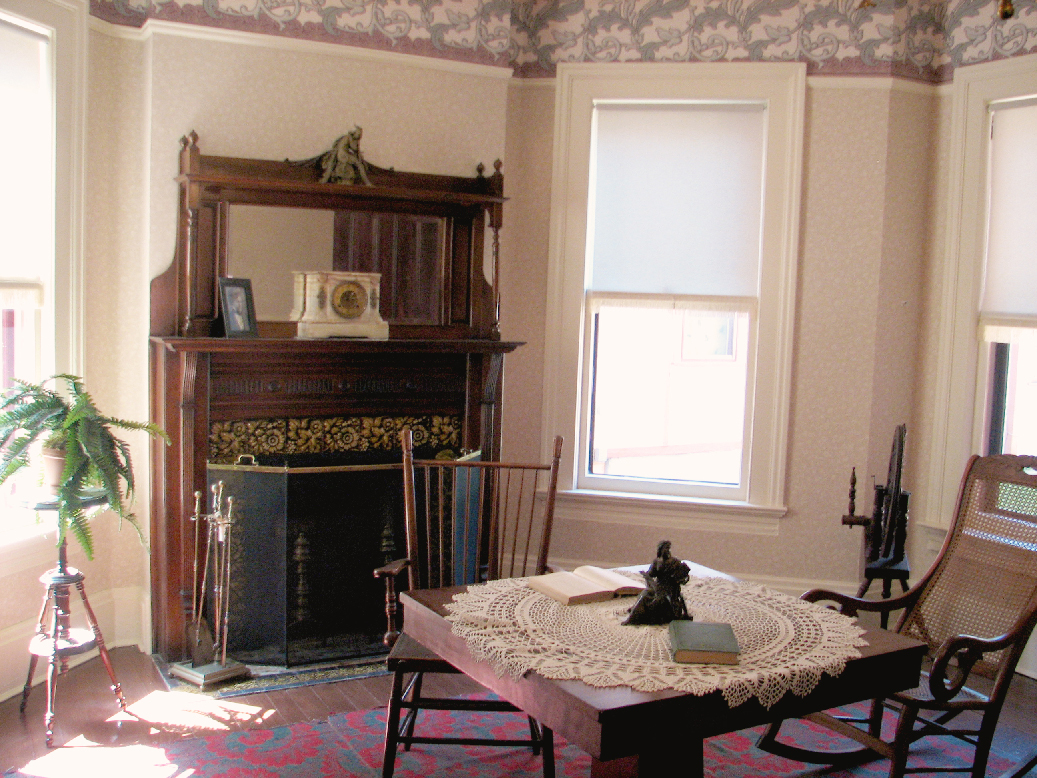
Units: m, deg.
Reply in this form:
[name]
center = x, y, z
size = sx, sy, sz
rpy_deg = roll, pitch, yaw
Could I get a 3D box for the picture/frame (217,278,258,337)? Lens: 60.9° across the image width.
[picture/frame]
center = -1.284, -0.376, 4.051
size = 0.168, 0.262, 0.151
rpy_deg = -4, 11, -31

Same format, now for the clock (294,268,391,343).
[clock]
center = -0.902, -0.407, 4.319
size = 0.266, 0.287, 0.444
rpy_deg = 9, 9, 44
